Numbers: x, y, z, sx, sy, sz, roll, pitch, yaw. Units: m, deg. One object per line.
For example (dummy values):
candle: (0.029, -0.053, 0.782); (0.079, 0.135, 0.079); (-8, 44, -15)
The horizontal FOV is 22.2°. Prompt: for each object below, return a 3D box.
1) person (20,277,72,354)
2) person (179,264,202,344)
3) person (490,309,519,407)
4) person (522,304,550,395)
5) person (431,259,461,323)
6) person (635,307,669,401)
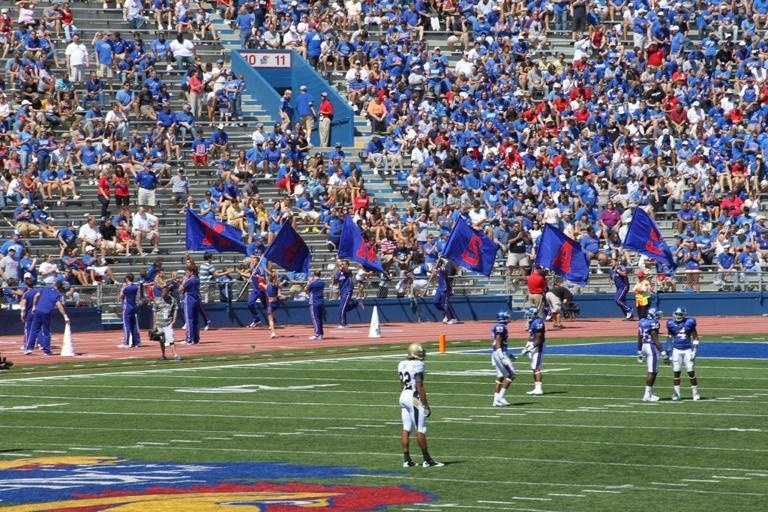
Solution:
person: (-10.190, 1.813, 58.959); (1.196, 2.373, 1.021); (3, -6, -11)
person: (-5.994, 1.520, 60.724); (0.585, 2.409, 0.696); (-2, 1, -5)
person: (3.142, 2.692, 51.363); (0.713, 2.393, 1.155); (-1, 3, -5)
person: (4.048, 2.561, 52.310); (0.909, 2.102, 0.723); (-1, -3, 2)
person: (2.032, 1.188, 65.600); (0.759, 2.024, 1.256); (-2, 0, 1)
person: (7.104, 2.647, 51.976); (0.771, 2.395, 0.875); (2, -2, -12)
